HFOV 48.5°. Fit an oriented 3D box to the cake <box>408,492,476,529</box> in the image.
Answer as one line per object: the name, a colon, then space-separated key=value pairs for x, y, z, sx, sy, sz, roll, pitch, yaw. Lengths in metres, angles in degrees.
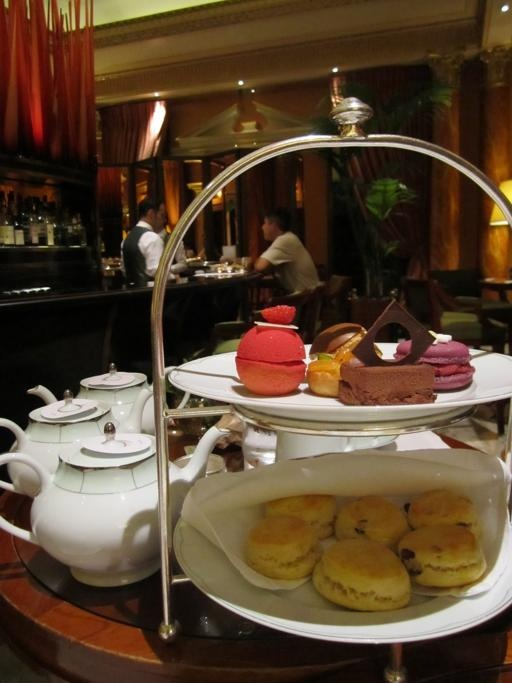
cake: x=0.176 y=0.161 z=0.546 sx=0.041 sy=0.019 sz=0.041 roll=-11 pitch=-13 yaw=34

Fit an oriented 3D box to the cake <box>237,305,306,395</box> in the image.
cake: x=0.008 y=0.007 z=0.533 sx=0.082 sy=0.098 sz=0.076 roll=-1 pitch=3 yaw=-7

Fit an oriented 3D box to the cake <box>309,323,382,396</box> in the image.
cake: x=0.075 y=0.013 z=0.525 sx=0.031 sy=0.068 sz=0.056 roll=18 pitch=0 yaw=-1

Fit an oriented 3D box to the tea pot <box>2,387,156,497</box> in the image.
tea pot: x=-0.228 y=0.107 z=0.730 sx=0.195 sy=0.120 sz=0.128 roll=4 pitch=14 yaw=8

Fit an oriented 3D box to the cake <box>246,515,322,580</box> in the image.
cake: x=0.023 y=0.184 z=0.521 sx=0.053 sy=0.031 sz=0.051 roll=5 pitch=16 yaw=11

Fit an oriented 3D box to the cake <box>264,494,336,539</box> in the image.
cake: x=0.050 y=0.173 z=0.570 sx=0.052 sy=0.029 sz=0.049 roll=-1 pitch=-20 yaw=-1

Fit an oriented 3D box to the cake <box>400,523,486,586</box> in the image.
cake: x=0.161 y=0.185 z=0.482 sx=0.053 sy=0.026 sz=0.054 roll=-3 pitch=-3 yaw=3

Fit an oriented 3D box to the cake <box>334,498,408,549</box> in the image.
cake: x=0.118 y=0.172 z=0.552 sx=0.051 sy=0.023 sz=0.048 roll=-2 pitch=12 yaw=-7

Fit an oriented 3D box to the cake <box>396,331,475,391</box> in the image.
cake: x=0.161 y=0.017 z=0.518 sx=0.059 sy=0.037 sz=0.056 roll=0 pitch=3 yaw=-8
